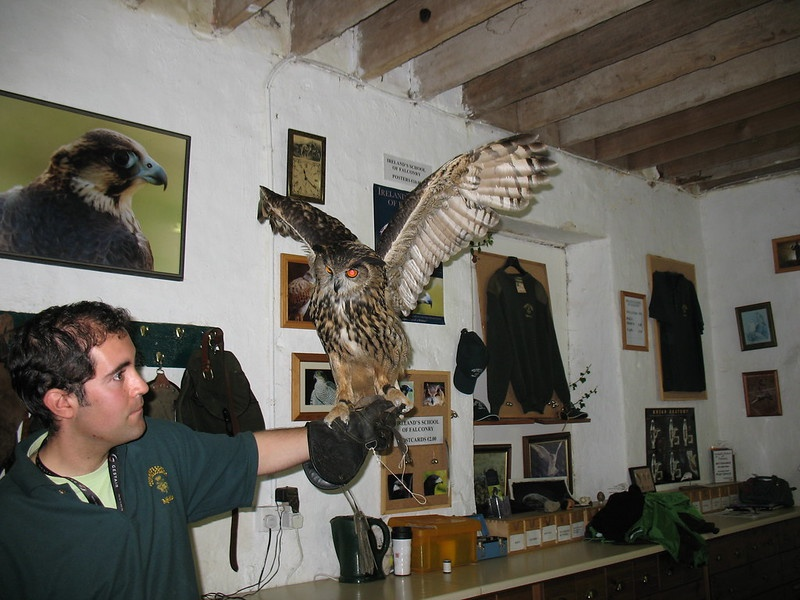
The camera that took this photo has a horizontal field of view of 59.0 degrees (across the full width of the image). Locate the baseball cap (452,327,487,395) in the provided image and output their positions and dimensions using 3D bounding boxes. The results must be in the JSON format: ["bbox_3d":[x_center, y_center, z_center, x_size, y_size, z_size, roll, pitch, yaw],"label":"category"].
[{"bbox_3d":[0.439,0.341,4.063,0.215,0.411,0.180,12,-15,-34],"label":"baseball cap"}]

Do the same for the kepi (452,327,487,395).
[{"bbox_3d":[0.394,0.344,4.020,0.187,0.356,0.160,8,-5,-33],"label":"kepi"}]

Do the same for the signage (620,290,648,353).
[{"bbox_3d":[1.673,0.167,5.077,0.365,0.439,0.019,8,-11,-43],"label":"signage"}]

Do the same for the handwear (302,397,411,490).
[{"bbox_3d":[-0.181,0.570,2.739,0.257,0.205,0.398,35,41,30],"label":"handwear"}]

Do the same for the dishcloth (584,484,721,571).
[{"bbox_3d":[1.555,1.314,4.266,0.444,0.249,0.567,-1,-13,33],"label":"dishcloth"}]
